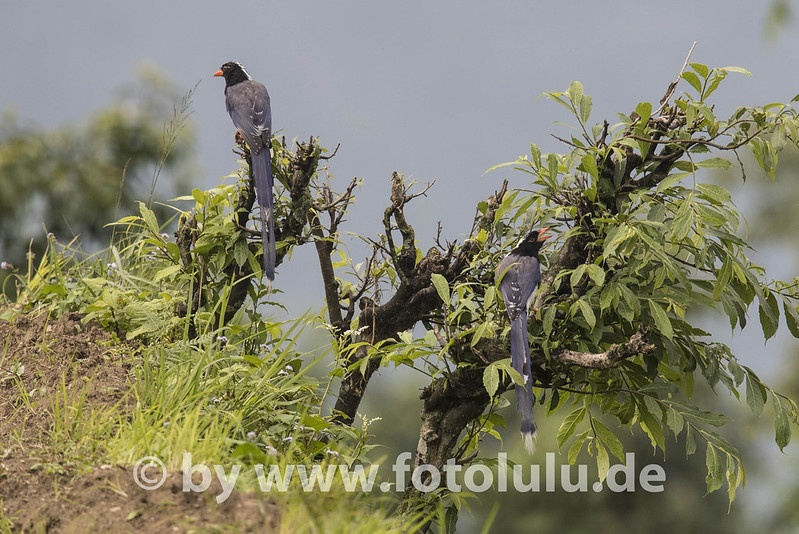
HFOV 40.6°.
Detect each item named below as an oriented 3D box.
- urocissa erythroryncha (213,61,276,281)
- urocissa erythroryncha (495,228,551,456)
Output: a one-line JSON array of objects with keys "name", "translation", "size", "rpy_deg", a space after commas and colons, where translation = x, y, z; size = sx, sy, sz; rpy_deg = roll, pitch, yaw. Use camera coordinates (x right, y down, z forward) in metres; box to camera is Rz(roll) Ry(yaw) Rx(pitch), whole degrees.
[{"name": "urocissa erythroryncha", "translation": [-1.305, -0.608, 9.282], "size": [0.490, 2.037, 0.387], "rpy_deg": [-30, -38, 31]}, {"name": "urocissa erythroryncha", "translation": [1.018, 0.569, 8.925], "size": [0.532, 2.112, 0.598], "rpy_deg": [4, -6, -12]}]
